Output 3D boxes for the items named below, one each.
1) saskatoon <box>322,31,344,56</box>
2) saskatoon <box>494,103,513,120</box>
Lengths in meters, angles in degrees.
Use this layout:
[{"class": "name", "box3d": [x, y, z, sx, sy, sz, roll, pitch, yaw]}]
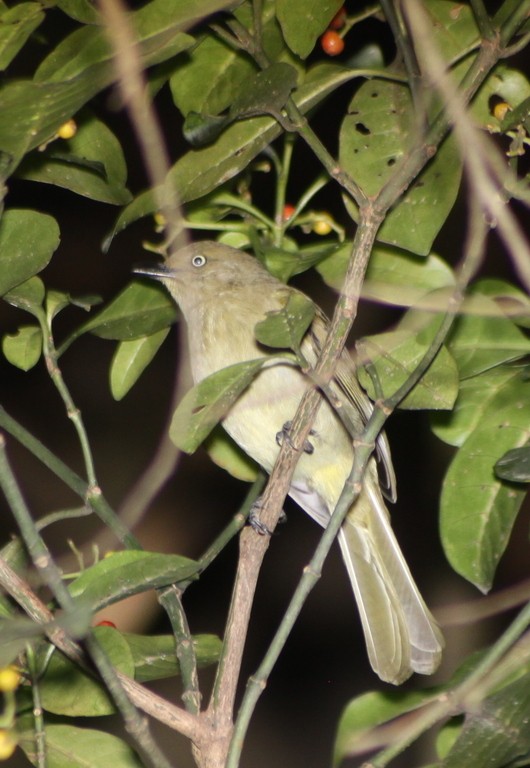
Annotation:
[{"class": "saskatoon", "box3d": [0.185, -0.898, 2.166, 0.066, 0.068, 0.062, -2, 5, 6]}, {"class": "saskatoon", "box3d": [0.561, -0.643, 1.925, 0.036, 0.037, 0.066, 1, 41, 10]}]
